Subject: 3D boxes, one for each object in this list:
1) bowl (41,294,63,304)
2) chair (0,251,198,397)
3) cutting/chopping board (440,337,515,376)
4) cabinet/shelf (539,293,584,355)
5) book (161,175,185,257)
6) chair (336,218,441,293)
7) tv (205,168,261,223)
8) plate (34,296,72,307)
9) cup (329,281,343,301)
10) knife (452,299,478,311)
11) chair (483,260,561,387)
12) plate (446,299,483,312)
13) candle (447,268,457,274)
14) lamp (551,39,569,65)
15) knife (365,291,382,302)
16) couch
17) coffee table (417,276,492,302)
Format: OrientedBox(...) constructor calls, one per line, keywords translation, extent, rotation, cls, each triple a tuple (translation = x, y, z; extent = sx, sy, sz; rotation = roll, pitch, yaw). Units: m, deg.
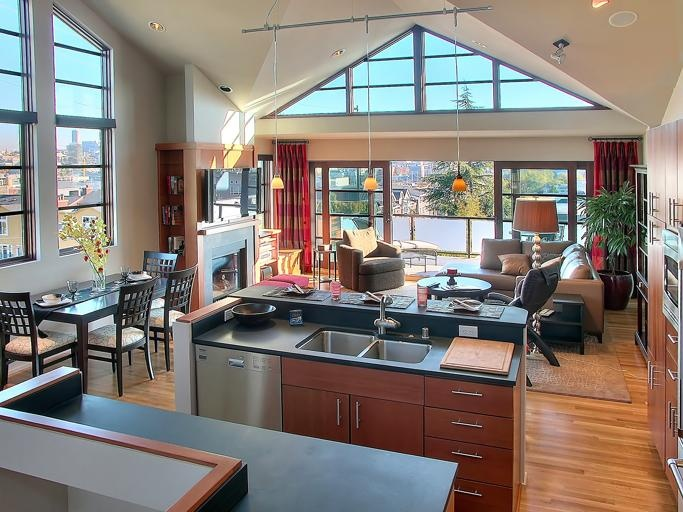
OrientedBox(translation=(-3.108, 0.451, 5.346), extent=(0.130, 0.057, 0.150), rotation=(1, 0, 5), cls="bowl")
OrientedBox(translation=(-2.526, 0.677, 6.133), extent=(1.108, 1.181, 2.289), rotation=(1, 12, 4), cls="chair")
OrientedBox(translation=(0.965, 0.690, 3.471), extent=(0.438, 0.037, 0.607), rotation=(5, 13, 23), cls="cutting/chopping board")
OrientedBox(translation=(2.960, 0.888, 6.628), extent=(0.802, 0.798, 0.630), rotation=(1, 4, 29), cls="cabinet/shelf")
OrientedBox(translation=(-2.668, -0.655, 7.838), extent=(0.369, 1.273, 0.299), rotation=(3, 11, 17), cls="book")
OrientedBox(translation=(0.648, 0.008, 9.165), extent=(1.101, 1.095, 1.183), rotation=(-3, 2, -43), cls="chair")
OrientedBox(translation=(-1.838, -1.114, 8.429), extent=(0.177, 0.876, 1.668), rotation=(6, 12, 20), cls="tv")
OrientedBox(translation=(-3.084, 0.481, 5.290), extent=(0.345, 0.045, 0.304), rotation=(-8, 14, -32), cls="plate")
OrientedBox(translation=(-0.049, 0.289, 4.265), extent=(0.132, 0.214, 0.136), rotation=(0, 1, 0), cls="cup")
OrientedBox(translation=(0.993, 0.380, 3.929), extent=(0.133, 0.047, 0.089), rotation=(9, 7, 34), cls="knife")
OrientedBox(translation=(1.937, 0.709, 5.919), extent=(1.014, 1.287, 1.230), rotation=(-12, 7, -42), cls="chair")
OrientedBox(translation=(0.991, 0.388, 3.938), extent=(0.148, 0.062, 0.121), rotation=(0, 2, 34), cls="plate")
OrientedBox(translation=(1.626, 0.210, 7.294), extent=(0.137, 0.098, 0.197), rotation=(2, 12, 12), cls="candle")
OrientedBox(translation=(2.607, -2.496, 5.917), extent=(0.137, 0.220, 0.166), rotation=(12, -1, -44), cls="lamp")
OrientedBox(translation=(0.275, 0.342, 4.208), extent=(0.122, 0.057, 0.165), rotation=(3, 3, 9), cls="knife")
OrientedBox(translation=(2.999, 0.712, 8.033), extent=(1.583, 0.757, 1.848), rotation=(3, 9, 19), cls="couch")
OrientedBox(translation=(1.634, 0.431, 7.141), extent=(0.641, 0.242, 0.668), rotation=(2, 13, 11), cls="coffee table")
